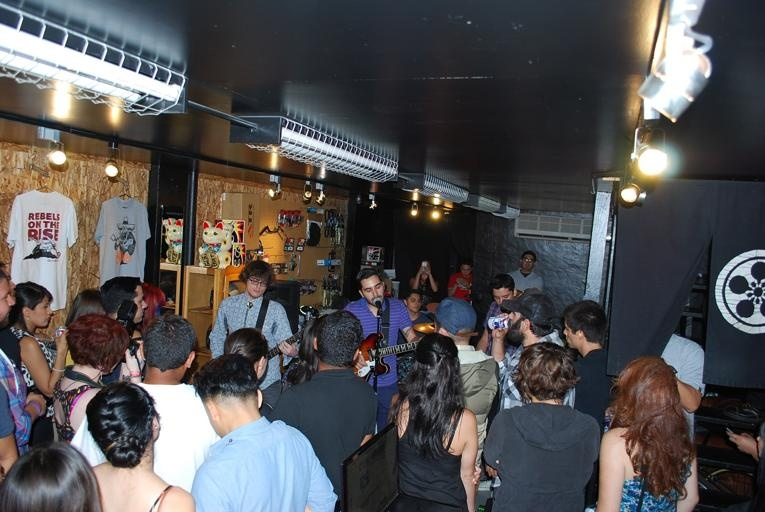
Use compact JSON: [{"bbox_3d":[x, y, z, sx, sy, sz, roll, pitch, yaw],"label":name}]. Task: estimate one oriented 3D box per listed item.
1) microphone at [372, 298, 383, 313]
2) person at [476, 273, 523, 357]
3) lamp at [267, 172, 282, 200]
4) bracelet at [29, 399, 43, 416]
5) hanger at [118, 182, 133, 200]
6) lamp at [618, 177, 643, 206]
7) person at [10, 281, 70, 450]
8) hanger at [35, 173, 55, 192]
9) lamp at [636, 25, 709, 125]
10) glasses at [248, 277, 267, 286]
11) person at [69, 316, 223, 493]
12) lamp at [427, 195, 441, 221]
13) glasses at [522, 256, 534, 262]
[{"bbox_3d":[-0.043,0.456,4.712,0.073,0.153,0.061,16,-34,-26],"label":"microphone"},{"bbox_3d":[1.238,0.711,5.438,0.512,0.963,0.467,2,9,15],"label":"person"},{"bbox_3d":[-1.428,-0.923,6.736,0.069,0.301,0.212,9,-2,-28],"label":"lamp"},{"bbox_3d":[-2.319,1.014,3.425,0.091,0.094,0.099,3,3,-20],"label":"bracelet"},{"bbox_3d":[-3.156,-0.784,6.265,0.038,0.237,0.216,-17,-13,35],"label":"hanger"},{"bbox_3d":[1.877,-0.483,3.907,0.139,0.203,0.190,5,14,14],"label":"lamp"},{"bbox_3d":[-2.383,0.770,3.540,0.343,1.184,0.427,-24,59,-40],"label":"person"},{"bbox_3d":[-3.659,-0.784,5.552,0.042,0.176,0.181,4,-16,7],"label":"hanger"},{"bbox_3d":[1.166,-0.717,2.052,0.197,0.279,0.217,4,0,-16],"label":"lamp"},{"bbox_3d":[-1.159,0.239,4.722,0.175,0.084,0.091,4,0,-15],"label":"glasses"},{"bbox_3d":[-1.261,0.794,2.691,0.582,0.744,0.411,20,24,3],"label":"person"},{"bbox_3d":[1.033,-0.967,10.385,0.278,0.660,0.301,0,-2,-16],"label":"lamp"},{"bbox_3d":[2.220,0.049,7.811,0.187,0.081,0.168,4,0,1],"label":"glasses"}]
